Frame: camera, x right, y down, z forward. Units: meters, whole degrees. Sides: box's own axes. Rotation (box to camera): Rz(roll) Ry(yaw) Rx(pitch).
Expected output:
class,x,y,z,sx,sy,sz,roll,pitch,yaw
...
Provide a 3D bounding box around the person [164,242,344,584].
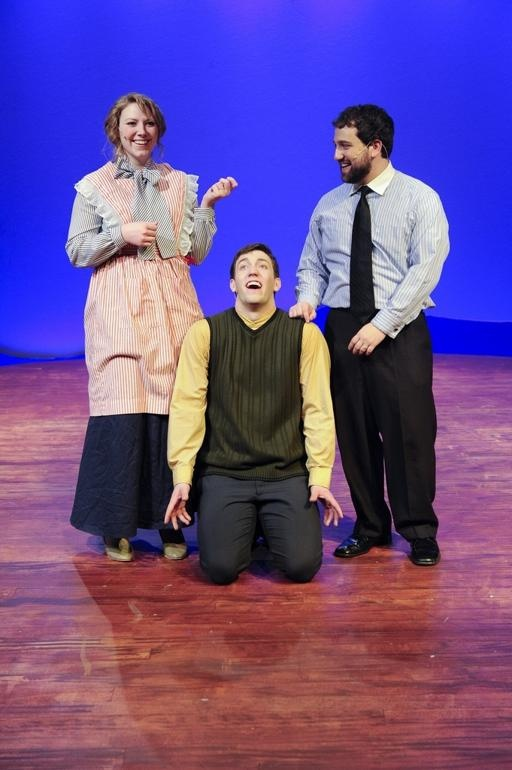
class,x,y,z,sx,sy,sz,roll,pitch,yaw
person,-0.011,0.069,1.911,0.449,0.879,0.338,0,9,-4

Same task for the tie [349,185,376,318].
class,x,y,z,sx,sy,sz,roll,pitch,yaw
tie,0.295,-0.354,1.967,0.072,0.364,0.050,4,10,19

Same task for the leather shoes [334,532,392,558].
class,x,y,z,sx,sy,sz,roll,pitch,yaw
leather shoes,0.308,0.471,2.145,0.195,0.068,0.063,2,-5,-36
